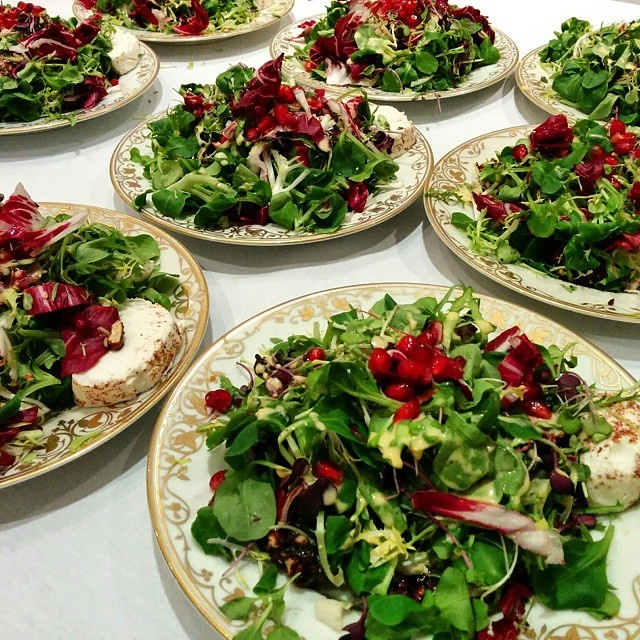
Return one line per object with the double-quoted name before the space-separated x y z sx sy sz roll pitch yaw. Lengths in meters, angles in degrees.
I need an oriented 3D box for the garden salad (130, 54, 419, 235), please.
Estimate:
"garden salad" -0.221 -0.531 1.825 0.840 0.315 0.732 18 44 16
